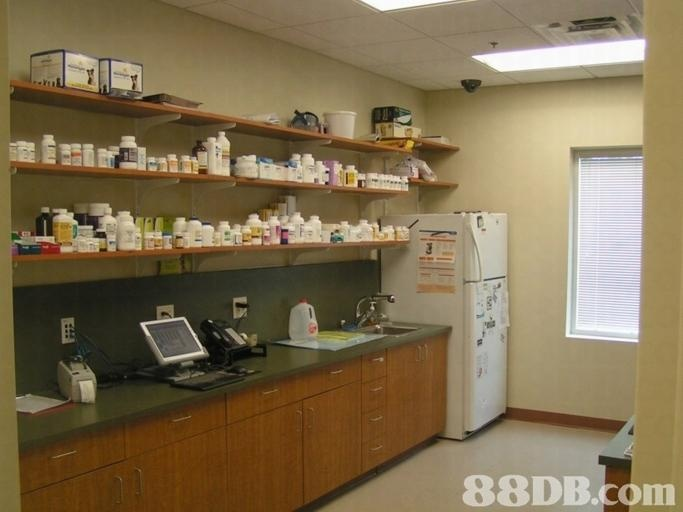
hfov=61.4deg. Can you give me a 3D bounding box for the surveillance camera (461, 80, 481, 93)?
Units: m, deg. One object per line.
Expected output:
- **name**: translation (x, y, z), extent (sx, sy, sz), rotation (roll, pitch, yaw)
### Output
- **surveillance camera**: translation (1.209, -1.584, 5.346), extent (0.126, 0.053, 0.127), rotation (0, -3, 2)

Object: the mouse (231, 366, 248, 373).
- **mouse**: translation (-0.564, 0.618, 3.146), extent (0.070, 0.025, 0.039), rotation (-2, -4, 36)

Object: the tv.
- **tv**: translation (-0.900, 0.460, 3.127), extent (0.298, 0.299, 0.349), rotation (2, 1, 33)

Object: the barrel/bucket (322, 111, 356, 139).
- **barrel/bucket**: translation (-0.003, -0.986, 4.375), extent (0.219, 0.165, 0.227), rotation (0, -7, 0)

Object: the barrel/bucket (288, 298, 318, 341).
- **barrel/bucket**: translation (-0.279, 0.470, 4.173), extent (0.214, 0.278, 0.184), rotation (8, 8, -1)

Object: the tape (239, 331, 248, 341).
- **tape**: translation (-0.626, 0.518, 3.738), extent (0.056, 0.064, 0.056), rotation (2, 0, -36)

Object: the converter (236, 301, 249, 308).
- **converter**: translation (-0.656, 0.322, 3.811), extent (0.057, 0.028, 0.041), rotation (2, -1, 13)
